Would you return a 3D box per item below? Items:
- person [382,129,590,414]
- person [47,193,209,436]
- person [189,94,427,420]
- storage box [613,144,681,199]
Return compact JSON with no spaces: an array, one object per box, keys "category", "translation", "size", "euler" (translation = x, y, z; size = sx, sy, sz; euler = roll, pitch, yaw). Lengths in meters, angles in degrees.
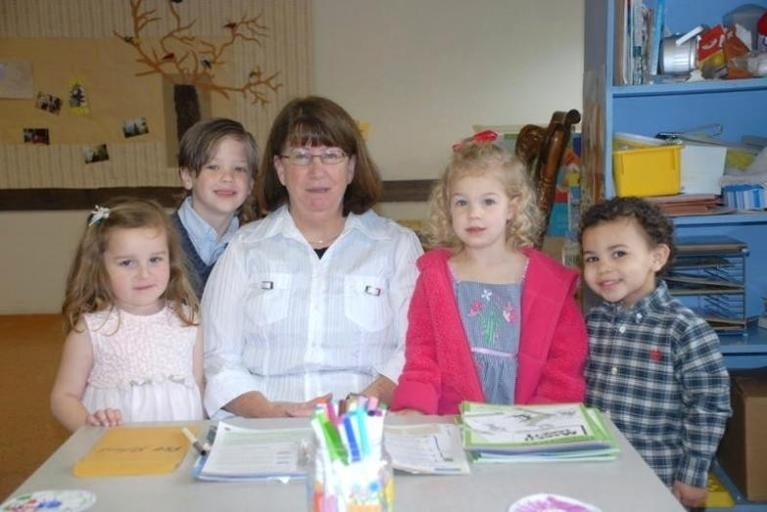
[{"category":"person","translation":[0.371,0.069,2.377],"size":[0.759,1.014,0.546],"euler":[-4,9,-2]},{"category":"person","translation":[-0.992,0.237,2.383],"size":[0.559,0.885,0.332],"euler":[-8,11,-28]},{"category":"person","translation":[-0.263,0.071,2.534],"size":[1.004,1.284,0.744],"euler":[0,16,-10]},{"category":"storage box","translation":[1.161,-0.369,2.768],"size":[0.323,0.195,0.216],"euler":[-3,3,-5]}]
